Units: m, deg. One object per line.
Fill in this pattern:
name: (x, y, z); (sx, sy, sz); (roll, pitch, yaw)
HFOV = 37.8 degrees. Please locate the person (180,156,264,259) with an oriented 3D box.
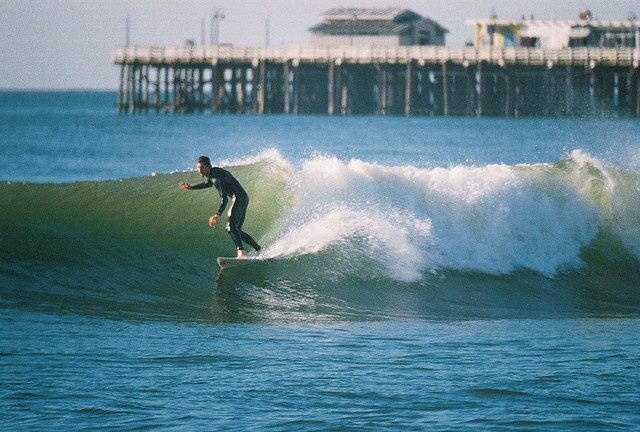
person: (-1.684, -0.141, 16.483); (0.549, 1.882, 1.156); (7, 12, 38)
